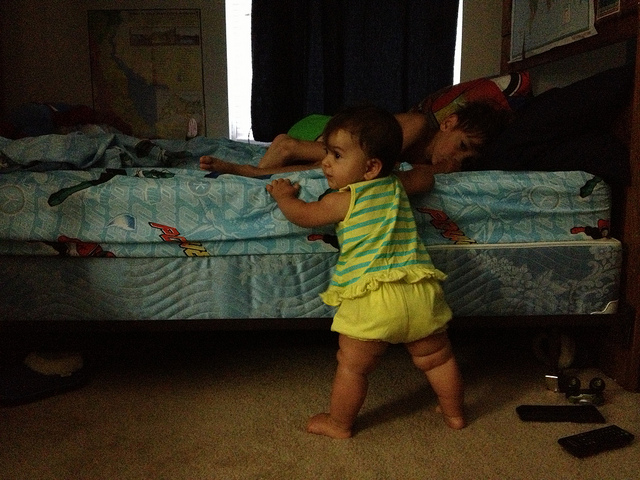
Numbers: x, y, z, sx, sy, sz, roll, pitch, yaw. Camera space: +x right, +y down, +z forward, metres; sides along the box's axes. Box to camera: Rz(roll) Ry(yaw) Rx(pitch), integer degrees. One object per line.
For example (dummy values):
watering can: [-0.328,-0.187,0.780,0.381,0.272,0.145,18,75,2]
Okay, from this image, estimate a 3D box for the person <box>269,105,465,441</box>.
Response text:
person: [0.133,0.086,1.582,0.607,0.920,0.331,2,16,5]

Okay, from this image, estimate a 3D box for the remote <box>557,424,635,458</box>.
remote: [0.777,0.552,1.537,0.175,0.029,0.082,-9,23,-19]

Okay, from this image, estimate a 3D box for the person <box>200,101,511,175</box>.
person: [0.100,-0.332,2.079,1.054,0.291,0.300,2,23,15]

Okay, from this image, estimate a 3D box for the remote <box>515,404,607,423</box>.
remote: [0.715,0.521,1.639,0.172,0.023,0.091,-1,3,1]

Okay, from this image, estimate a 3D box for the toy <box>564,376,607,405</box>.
toy: [0.823,0.461,1.663,0.095,0.056,0.093,-1,3,5]
